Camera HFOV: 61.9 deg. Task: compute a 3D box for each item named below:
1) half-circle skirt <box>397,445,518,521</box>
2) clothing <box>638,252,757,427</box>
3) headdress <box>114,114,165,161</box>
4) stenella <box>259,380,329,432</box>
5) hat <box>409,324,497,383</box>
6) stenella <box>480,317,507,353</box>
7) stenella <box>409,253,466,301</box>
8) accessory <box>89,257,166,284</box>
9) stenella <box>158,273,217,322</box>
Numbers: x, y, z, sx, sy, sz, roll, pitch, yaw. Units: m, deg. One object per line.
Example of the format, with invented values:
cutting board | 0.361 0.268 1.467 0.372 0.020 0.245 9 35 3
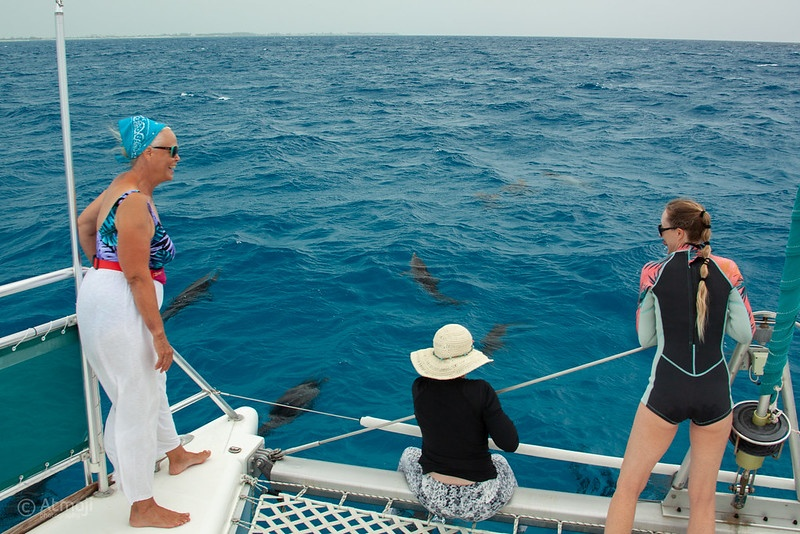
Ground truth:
half-circle skirt | 0.422 2.056 5.995 1.073 1.037 0.314 -22 56 25
clothing | 2.389 0.572 5.414 0.906 1.404 0.606 4 22 16
headdress | -2.083 -1.031 5.373 0.372 0.335 0.222 -7 21 -16
stenella | -1.542 1.923 9.409 0.387 0.311 1.181 40 30 10
hat | 0.452 0.685 5.774 0.746 0.272 0.599 -10 15 -14
stenella | 1.575 1.155 11.013 0.226 0.170 0.627 30 37 12
stenella | 0.542 0.276 12.978 0.462 0.268 1.275 -12 36 -13
accessory | -2.206 0.012 5.367 0.438 0.089 0.261 3 6 -6
stenella | -3.825 0.514 12.089 0.457 0.185 1.450 2 21 18
